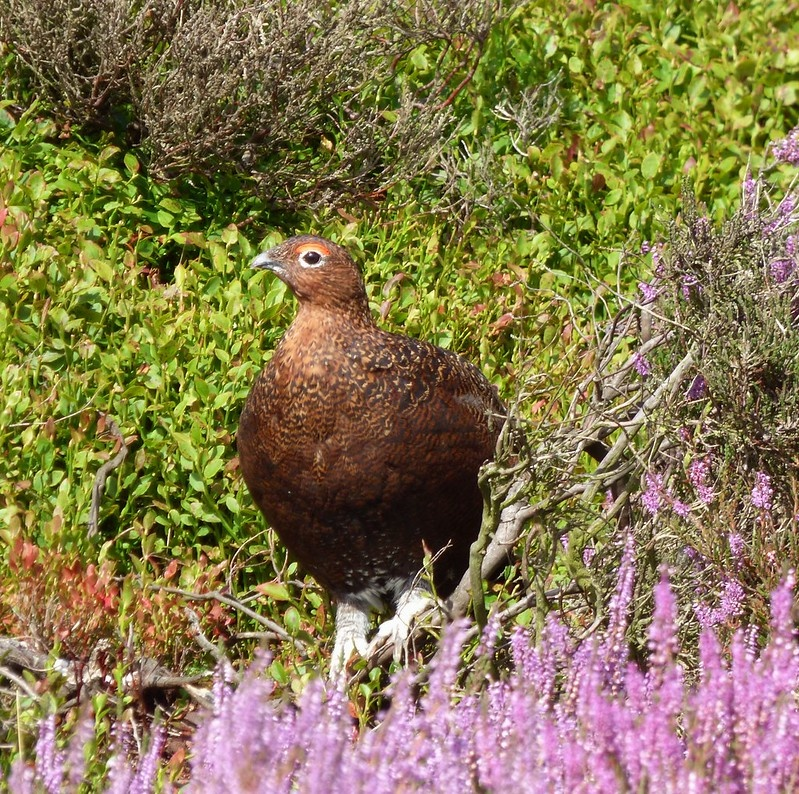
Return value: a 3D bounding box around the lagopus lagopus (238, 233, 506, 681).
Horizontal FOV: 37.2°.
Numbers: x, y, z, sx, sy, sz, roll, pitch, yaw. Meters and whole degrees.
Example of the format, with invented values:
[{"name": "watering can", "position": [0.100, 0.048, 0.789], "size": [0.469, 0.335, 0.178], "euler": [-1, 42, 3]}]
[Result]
[{"name": "lagopus lagopus", "position": [-0.053, 0.157, 3.380], "size": [0.630, 1.261, 0.862], "euler": [2, 6, 43]}]
